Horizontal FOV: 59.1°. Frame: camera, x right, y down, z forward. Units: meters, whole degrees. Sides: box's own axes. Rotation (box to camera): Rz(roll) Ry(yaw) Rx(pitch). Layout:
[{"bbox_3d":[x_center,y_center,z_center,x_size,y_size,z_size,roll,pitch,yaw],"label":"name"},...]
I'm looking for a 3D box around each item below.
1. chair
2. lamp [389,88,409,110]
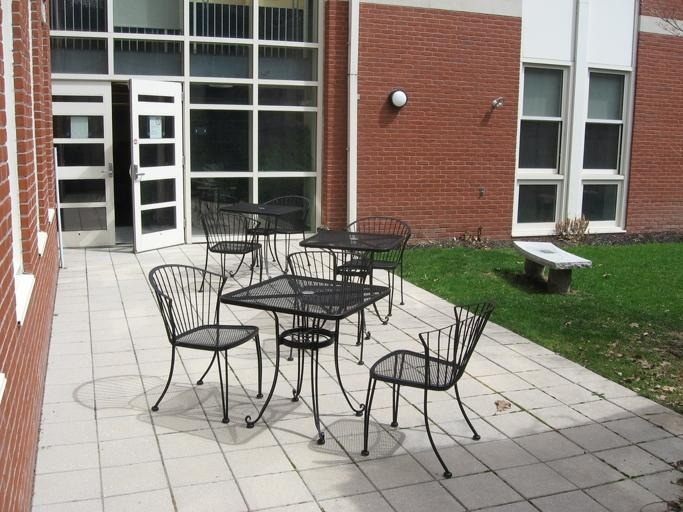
[{"bbox_3d":[0.010,0.582,5.019,2.454,1.095,2.060,6,15,18],"label":"chair"},{"bbox_3d":[1.010,-2.691,10.346,0.353,0.326,0.151,-4,14,-19],"label":"lamp"}]
